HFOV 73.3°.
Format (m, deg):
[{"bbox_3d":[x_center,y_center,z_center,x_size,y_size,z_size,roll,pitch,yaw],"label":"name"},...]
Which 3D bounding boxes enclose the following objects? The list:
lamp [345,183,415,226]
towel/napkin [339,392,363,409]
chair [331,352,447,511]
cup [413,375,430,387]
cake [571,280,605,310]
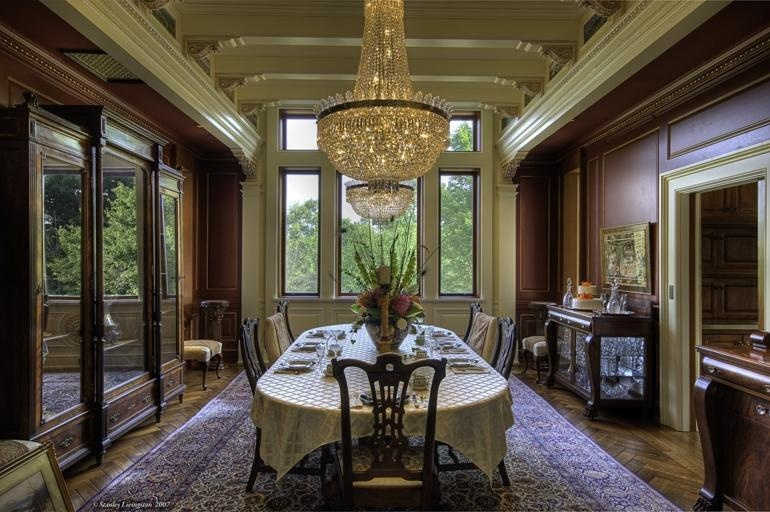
[{"bbox_3d":[-0.042,-0.667,6.606,0.787,0.403,0.782,0,-4,-1],"label":"lamp"},{"bbox_3d":[-0.267,1.142,4.045,0.188,0.078,0.243,0,-2,-2],"label":"towel/napkin"},{"bbox_3d":[0.033,1.463,4.189,0.858,1.583,0.832,0,10,1],"label":"chair"},{"bbox_3d":[0.309,1.084,4.465,0.082,0.089,0.127,1,-5,-8],"label":"cup"},{"bbox_3d":[2.646,0.526,6.721,0.377,0.348,0.374,1,-8,-5],"label":"cake"}]
